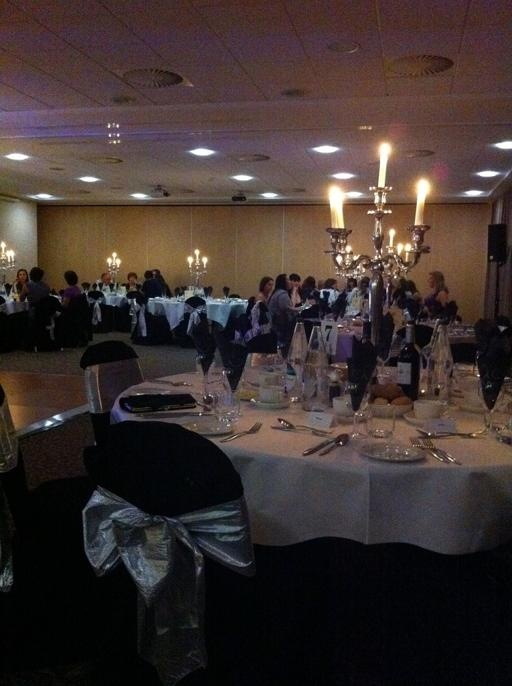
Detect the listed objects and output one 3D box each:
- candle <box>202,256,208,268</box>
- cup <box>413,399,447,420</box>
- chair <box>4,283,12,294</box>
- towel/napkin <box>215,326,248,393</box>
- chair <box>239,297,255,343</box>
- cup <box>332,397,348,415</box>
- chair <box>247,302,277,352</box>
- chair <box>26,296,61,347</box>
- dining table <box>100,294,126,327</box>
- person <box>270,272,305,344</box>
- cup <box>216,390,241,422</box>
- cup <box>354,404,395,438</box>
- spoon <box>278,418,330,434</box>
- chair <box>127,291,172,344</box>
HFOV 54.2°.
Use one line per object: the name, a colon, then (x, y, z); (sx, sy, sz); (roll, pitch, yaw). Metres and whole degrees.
candle: (-1.266, -2.017, 12.502); (0.144, 0.304, 0.146); (-17, 13, -41)
cup: (0.471, 0.176, 1.374); (0.060, 0.042, 0.062); (1, -2, 0)
chair: (-4.511, -0.987, 9.159); (0.132, 0.210, 0.835); (-13, 10, -25)
towel/napkin: (-0.065, 0.064, 1.562); (0.123, 0.219, 0.112); (-6, 5, -13)
chair: (-0.078, -0.271, 6.121); (0.189, 0.562, 0.165); (-14, -16, 31)
cup: (0.236, 0.177, 1.407); (0.040, 0.032, 0.045); (0, 1, 7)
chair: (0.070, -0.277, 5.907); (0.274, 0.415, 0.695); (-11, -31, -5)
chair: (-3.142, -0.297, 7.497); (0.578, 1.053, 0.643); (-1, 13, -26)
dining table: (-2.919, -0.633, 10.453); (0.579, 0.712, 0.587); (-9, 13, -40)
person: (0.335, -0.415, 6.125); (0.317, 1.021, 0.331); (-7, 44, -4)
cup: (-0.078, 0.177, 1.381); (0.073, 0.075, 0.073); (-1, -7, 0)
cup: (0.288, 0.200, 1.281); (0.108, 0.077, 0.069); (0, 0, -8)
spoon: (0.103, 0.210, 1.309); (0.186, 0.032, 0.042); (-2, 12, 42)
chair: (-1.985, -0.465, 9.288); (0.963, 1.087, 0.797); (0, 7, -11)
